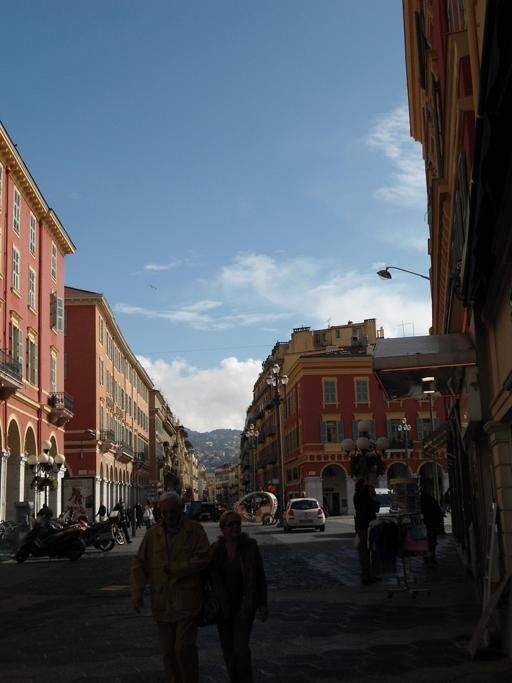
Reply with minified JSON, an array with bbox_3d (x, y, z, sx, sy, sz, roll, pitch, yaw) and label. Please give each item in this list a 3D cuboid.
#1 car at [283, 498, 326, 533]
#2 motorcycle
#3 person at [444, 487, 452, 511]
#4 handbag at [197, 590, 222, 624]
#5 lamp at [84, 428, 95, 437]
[{"bbox_3d":[2.503,9.333,34.108,1.292,1.321,2.434,0,-6,0],"label":"car"},{"bbox_3d":[-6.475,6.674,21.803,3.029,2.095,1.773,2,-32,-9],"label":"motorcycle"},{"bbox_3d":[13.838,11.643,45.684,0.514,1.649,4.153,-7,-15,16],"label":"person"},{"bbox_3d":[-0.266,1.524,3.568,0.101,0.237,0.208,0,-17,1],"label":"handbag"},{"bbox_3d":[-12.297,6.750,46.570,0.699,0.830,0.981,-2,-15,-8],"label":"lamp"}]
